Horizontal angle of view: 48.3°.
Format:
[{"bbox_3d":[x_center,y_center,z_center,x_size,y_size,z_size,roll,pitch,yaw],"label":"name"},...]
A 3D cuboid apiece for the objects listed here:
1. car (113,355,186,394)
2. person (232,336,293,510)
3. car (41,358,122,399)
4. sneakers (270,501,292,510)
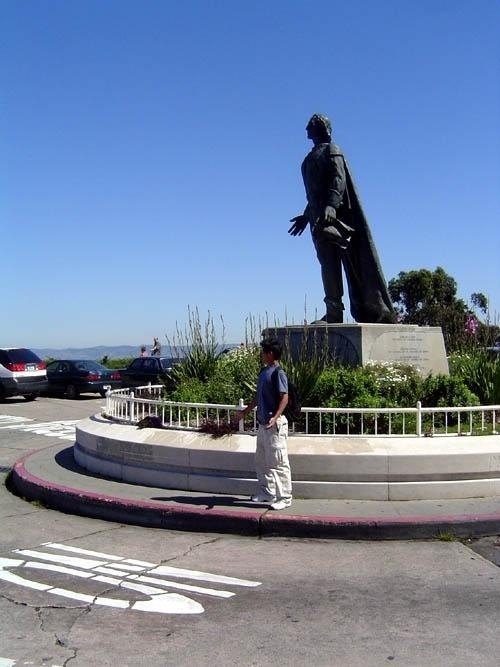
[{"bbox_3d":[-3.675,1.595,18.966,2.756,1.276,1.498,4,1,36],"label":"car"},{"bbox_3d":[0.206,0.838,5.258,0.322,1.577,0.462,-1,-2,-14],"label":"person"},{"bbox_3d":[-5.919,1.580,19.382,3.217,1.051,1.298,3,1,43],"label":"car"},{"bbox_3d":[0.290,1.588,5.182,0.195,0.069,0.166,-2,-2,-6],"label":"sneakers"}]
